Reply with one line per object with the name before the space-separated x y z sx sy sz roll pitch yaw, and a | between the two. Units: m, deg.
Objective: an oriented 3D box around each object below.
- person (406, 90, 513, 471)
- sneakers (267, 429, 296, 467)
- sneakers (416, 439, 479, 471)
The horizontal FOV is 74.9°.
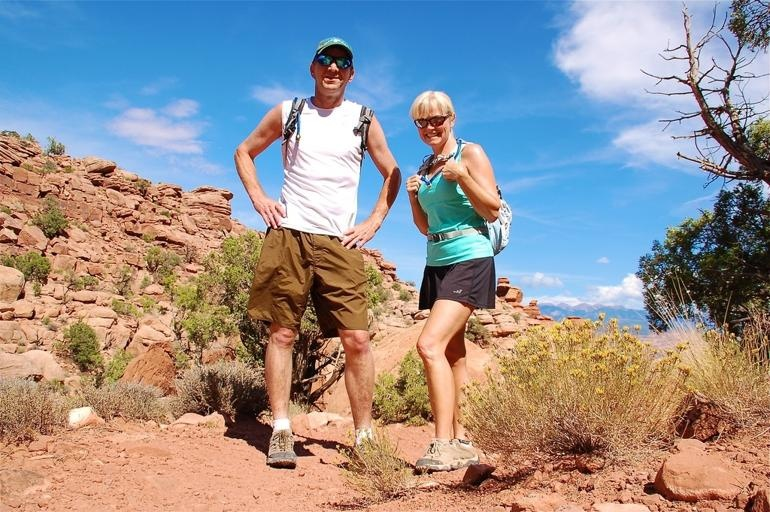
person | 0.701 0.185 5.029 0.965 3.760 0.815 -2 -2 12
sneakers | -1.088 2.025 5.299 0.292 0.360 0.233 -1 -1 -14
sneakers | 0.609 1.882 4.811 0.690 0.280 0.260 1 -15 -17
